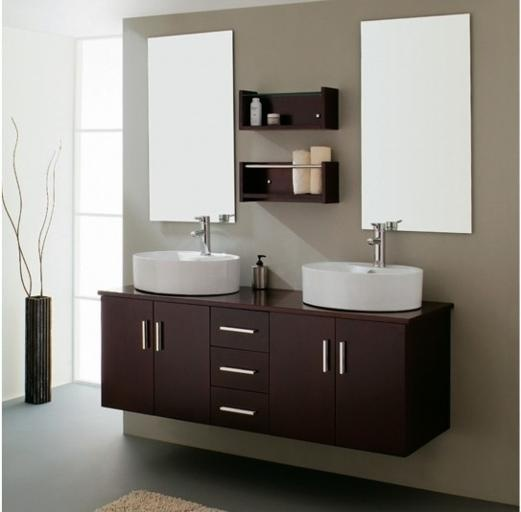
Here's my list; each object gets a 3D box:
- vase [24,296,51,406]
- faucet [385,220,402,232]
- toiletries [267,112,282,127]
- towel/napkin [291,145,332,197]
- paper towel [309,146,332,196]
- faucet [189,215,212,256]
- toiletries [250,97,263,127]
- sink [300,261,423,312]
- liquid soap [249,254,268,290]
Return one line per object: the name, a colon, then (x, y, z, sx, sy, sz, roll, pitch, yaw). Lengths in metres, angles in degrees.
vase: (-1.648, 0.703, 3.861, 0.207, 0.798, 0.147, -1, 4, -15)
faucet: (0.664, -0.147, 2.624, 0.077, 0.069, 0.048, 3, 4, 37)
toiletries: (0.075, -0.710, 2.816, 0.085, 0.107, 0.071, 1, 8, 14)
towel/napkin: (0.274, -0.426, 2.739, 0.171, 0.417, 0.307, 1, 0, 14)
paper towel: (0.307, -0.444, 2.700, 0.108, 0.248, 0.176, 1, 4, 11)
faucet: (-0.345, -0.116, 3.056, 0.107, 0.230, 0.207, 0, 4, -5)
toiletries: (-0.025, -0.771, 2.805, 0.062, 0.180, 0.151, 0, 4, -1)
sink: (0.470, 0.144, 2.483, 0.550, 0.178, 0.452, 1, 5, 15)
liquid soap: (-0.003, 0.091, 2.968, 0.090, 0.192, 0.084, 1, 4, 17)
